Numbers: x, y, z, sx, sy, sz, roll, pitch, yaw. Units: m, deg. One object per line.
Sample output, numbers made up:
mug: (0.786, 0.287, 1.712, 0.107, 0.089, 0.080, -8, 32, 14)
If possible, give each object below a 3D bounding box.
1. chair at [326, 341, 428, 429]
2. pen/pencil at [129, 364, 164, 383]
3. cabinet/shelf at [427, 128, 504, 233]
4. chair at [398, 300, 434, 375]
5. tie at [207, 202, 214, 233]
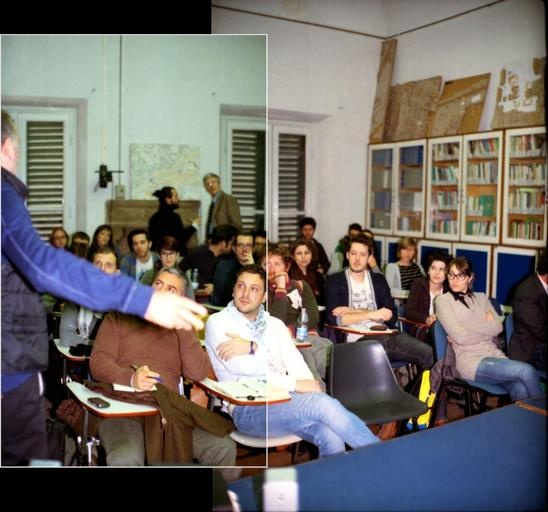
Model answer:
chair: (0.521, 0.651, 2.581, 0.494, 0.410, 0.435, 3, -5, -27)
pen/pencil: (-0.574, 0.524, 2.189, 0.193, 0.030, 0.024, 29, 19, 35)
cabinet/shelf: (2.300, -0.836, 5.939, 0.838, 1.273, 0.317, 4, 15, 30)
chair: (1.077, 0.534, 3.754, 0.275, 0.456, 0.267, 2, -5, -27)
tie: (-0.425, -0.255, 3.263, 0.039, 0.229, 0.045, 6, 14, -15)
